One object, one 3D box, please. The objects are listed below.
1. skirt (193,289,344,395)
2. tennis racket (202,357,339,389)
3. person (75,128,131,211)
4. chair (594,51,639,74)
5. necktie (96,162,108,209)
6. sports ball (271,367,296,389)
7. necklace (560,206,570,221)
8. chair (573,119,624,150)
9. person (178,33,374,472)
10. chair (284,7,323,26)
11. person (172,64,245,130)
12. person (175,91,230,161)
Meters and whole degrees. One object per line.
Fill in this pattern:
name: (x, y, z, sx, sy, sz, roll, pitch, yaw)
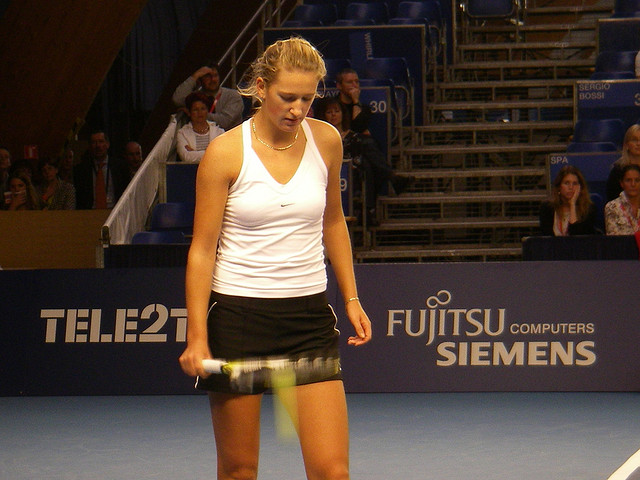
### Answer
skirt: (-0.349, 0.690, 7.948, 0.962, 0.663, 1.380, -6, -8, 12)
tennis racket: (-0.360, 0.867, 7.331, 0.824, 0.129, 0.173, 0, 21, -12)
person: (-2.614, -0.856, 13.627, 0.672, 0.915, 0.231, -1, 5, -7)
chair: (3.968, -2.426, 15.191, 0.534, 0.297, 0.386, 1, 5, 16)
necktie: (-2.614, -0.677, 13.562, 0.137, 0.537, 0.068, 0, 5, -2)
sports ball: (-0.232, 0.902, 7.349, 0.125, 0.099, 0.131, 1, -3, 0)
necklace: (2.546, -0.279, 11.758, 0.112, 0.131, 0.119, 2, -19, -2)
chair: (3.393, -1.345, 13.789, 0.533, 0.506, 0.460, 0, -6, 18)
person: (-0.307, 0.096, 7.429, 1.148, 2.847, 0.513, 0, 5, -1)
chair: (-0.243, -3.494, 17.471, 0.545, 0.411, 1.284, 0, 5, 0)
person: (-1.382, -1.571, 13.889, 0.895, 1.245, 0.762, 1, 0, -13)
person: (-1.383, -1.291, 13.140, 0.623, 0.897, 0.486, -3, -5, -31)
